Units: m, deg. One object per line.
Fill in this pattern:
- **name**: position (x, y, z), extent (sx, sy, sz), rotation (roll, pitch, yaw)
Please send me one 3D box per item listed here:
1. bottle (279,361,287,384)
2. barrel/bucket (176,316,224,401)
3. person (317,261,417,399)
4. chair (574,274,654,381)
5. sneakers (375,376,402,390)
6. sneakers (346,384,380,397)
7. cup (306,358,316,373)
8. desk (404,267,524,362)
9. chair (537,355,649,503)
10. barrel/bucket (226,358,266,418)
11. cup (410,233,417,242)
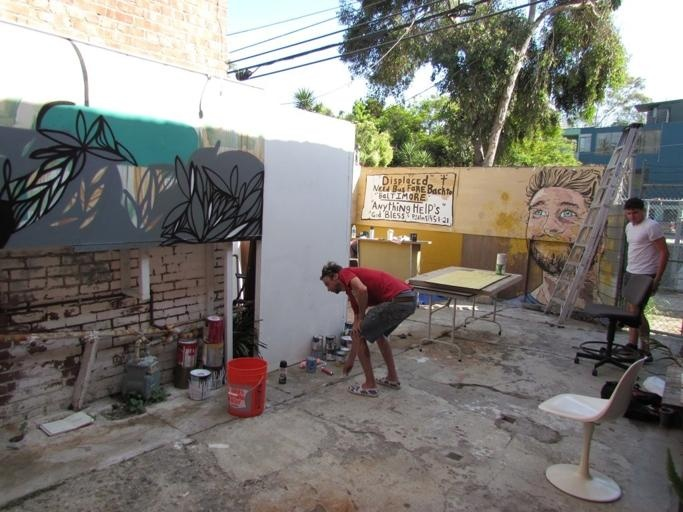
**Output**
- **bottle**: position (-0.759, 1.479, 5.910), extent (0.114, 0.326, 0.302), rotation (0, 11, -8)
- **barrel/bucket**: position (-1.775, 1.223, 5.570), extent (0.574, 0.852, 0.606), rotation (1, 11, 0)
- **person**: position (0.330, 0.913, 5.618), extent (1.125, 1.589, 0.479), rotation (3, 11, 7)
- **chair**: position (3.874, 0.965, 6.511), extent (0.845, 1.373, 0.991), rotation (2, 6, 22)
- **sneakers**: position (0.597, 1.616, 5.882), extent (0.150, 0.110, 0.300), rotation (-1, 4, -41)
- **sneakers**: position (0.269, 1.688, 5.652), extent (0.293, 0.126, 0.156), rotation (6, 1, 17)
- **cup**: position (-0.407, 1.514, 6.223), extent (0.145, 0.177, 0.156), rotation (0, 2, 0)
- **desk**: position (2.226, 0.836, 8.148), extent (1.520, 1.262, 3.209), rotation (6, 11, 21)
- **chair**: position (2.210, 1.484, 4.102), extent (0.684, 1.277, 0.549), rotation (9, 13, 33)
- **barrel/bucket**: position (-1.015, 1.470, 5.233), extent (0.512, 0.625, 0.508), rotation (0, 4, 0)
- **cup**: position (1.617, -0.403, 10.248), extent (0.146, 0.226, 0.213), rotation (1, 3, 3)
